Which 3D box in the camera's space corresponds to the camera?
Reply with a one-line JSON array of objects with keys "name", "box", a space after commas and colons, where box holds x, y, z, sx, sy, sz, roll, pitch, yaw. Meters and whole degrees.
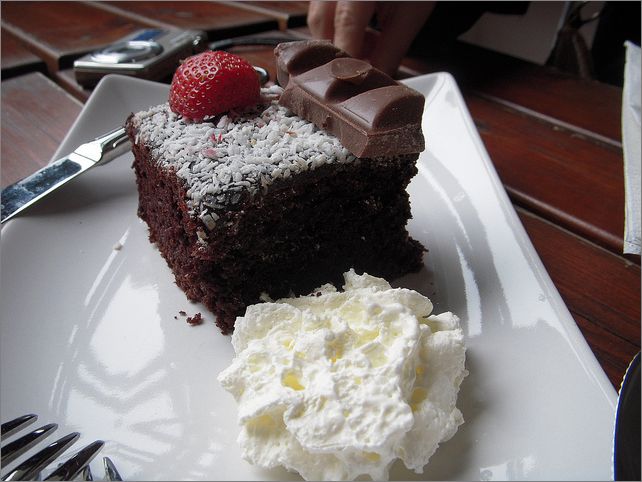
[{"name": "camera", "box": [-0.921, -0.984, 2.901, 0.456, 0.167, 0.599, 26, 40, 38]}]
